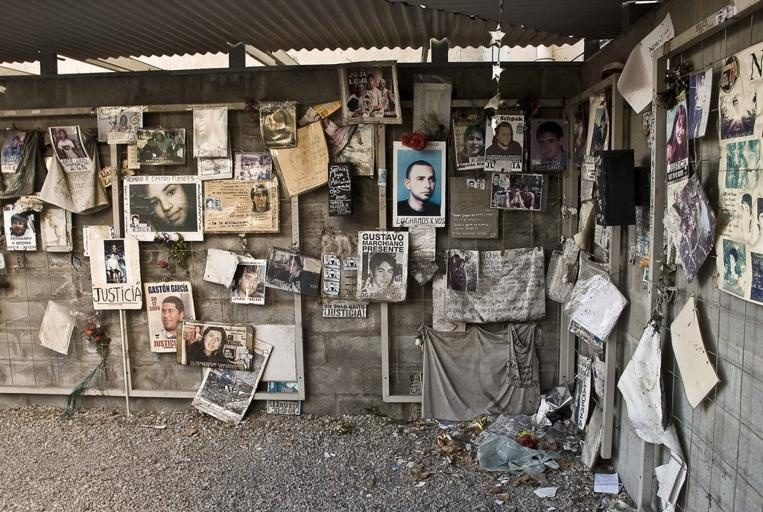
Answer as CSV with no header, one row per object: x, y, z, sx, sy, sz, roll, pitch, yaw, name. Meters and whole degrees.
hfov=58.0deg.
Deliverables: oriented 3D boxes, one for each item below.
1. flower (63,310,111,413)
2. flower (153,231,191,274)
-3.787,1.194,8.989,0.402,1.363,0.289,10,23,-5,flower
-2.646,-0.051,8.713,0.429,0.502,0.135,1,6,16,flower
